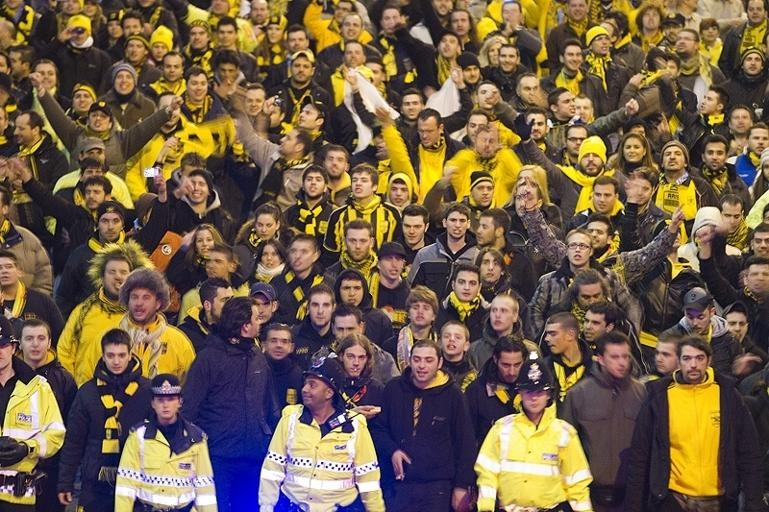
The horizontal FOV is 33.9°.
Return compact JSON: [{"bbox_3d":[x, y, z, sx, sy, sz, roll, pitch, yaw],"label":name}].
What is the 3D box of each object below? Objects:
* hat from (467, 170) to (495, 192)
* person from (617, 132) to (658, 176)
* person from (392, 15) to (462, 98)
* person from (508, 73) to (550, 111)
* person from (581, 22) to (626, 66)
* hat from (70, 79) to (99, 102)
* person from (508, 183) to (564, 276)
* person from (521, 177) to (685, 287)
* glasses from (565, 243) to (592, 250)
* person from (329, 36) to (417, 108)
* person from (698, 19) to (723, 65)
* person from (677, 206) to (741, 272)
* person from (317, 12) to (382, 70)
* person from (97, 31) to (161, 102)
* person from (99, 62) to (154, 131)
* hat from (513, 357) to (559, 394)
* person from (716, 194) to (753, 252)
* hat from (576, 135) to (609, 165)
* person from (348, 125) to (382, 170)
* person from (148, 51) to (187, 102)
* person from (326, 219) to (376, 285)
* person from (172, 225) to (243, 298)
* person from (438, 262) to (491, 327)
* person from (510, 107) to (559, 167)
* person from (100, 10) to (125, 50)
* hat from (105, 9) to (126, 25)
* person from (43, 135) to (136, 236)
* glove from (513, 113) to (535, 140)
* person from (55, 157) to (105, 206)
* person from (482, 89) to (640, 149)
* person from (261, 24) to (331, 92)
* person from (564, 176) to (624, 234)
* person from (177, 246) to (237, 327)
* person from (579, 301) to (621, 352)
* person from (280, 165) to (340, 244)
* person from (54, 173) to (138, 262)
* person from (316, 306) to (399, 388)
[{"bbox_3d":[1.614,-1.238,20.905,0.282,0.270,0.361,4,-20,-2],"label":"hat"},{"bbox_3d":[4.317,-1.770,21.707,0.842,0.790,0.536,4,17,17],"label":"person"},{"bbox_3d":[0.938,-3.859,24.360,1.393,1.327,0.537,-9,13,34],"label":"person"},{"bbox_3d":[2.722,-3.046,23.708,0.975,0.749,0.573,-6,16,-11],"label":"person"},{"bbox_3d":[4.259,-4.138,24.962,1.007,0.774,0.559,-7,8,-10],"label":"person"},{"bbox_3d":[-5.531,-3.005,23.257,0.440,0.321,0.513,25,-13,-18],"label":"hat"},{"bbox_3d":[2.521,-0.446,19.675,0.550,1.413,0.779,-30,12,-34],"label":"person"},{"bbox_3d":[3.432,-0.306,19.668,1.896,1.116,0.422,4,2,-6],"label":"person"},{"bbox_3d":[2.909,-0.124,18.743,0.322,0.083,0.082,-2,-15,10],"label":"glasses"},{"bbox_3d":[-0.541,-3.348,23.489,1.004,1.266,0.674,-15,-36,-22],"label":"person"},{"bbox_3d":[7.030,-4.591,27.024,0.764,0.945,0.415,-1,12,7],"label":"person"},{"bbox_3d":[5.006,-0.322,19.678,1.131,1.032,0.478,3,-9,-9],"label":"person"},{"bbox_3d":[-0.639,-4.088,24.573,1.508,1.138,0.708,10,7,10],"label":"person"},{"bbox_3d":[-4.720,-3.727,24.357,1.408,1.215,0.712,12,11,15],"label":"person"},{"bbox_3d":[-4.869,-2.985,23.461,1.498,1.219,0.730,3,15,-7],"label":"person"},{"bbox_3d":[1.978,1.531,16.353,0.561,0.379,0.778,-10,2,22],"label":"hat"},{"bbox_3d":[5.777,-0.540,20.562,0.638,0.904,0.493,-3,-5,0],"label":"person"},{"bbox_3d":[3.549,-1.820,21.426,0.452,0.516,0.385,0,-15,4],"label":"hat"},{"bbox_3d":[-0.276,-1.896,22.302,0.574,0.725,0.319,16,4,20],"label":"person"},{"bbox_3d":[-4.037,-3.377,23.779,1.129,0.937,0.575,0,12,-7],"label":"person"},{"bbox_3d":[-0.443,-0.038,19.736,1.246,1.004,0.624,0,5,-3],"label":"person"},{"bbox_3d":[-2.989,0.075,19.996,1.026,1.103,0.507,22,-4,-3],"label":"person"},{"bbox_3d":[1.207,0.621,18.871,1.135,0.957,0.560,2,1,-8],"label":"person"},{"bbox_3d":[2.773,-2.029,22.365,0.843,1.172,0.741,-3,-4,12],"label":"person"},{"bbox_3d":[-5.607,-4.642,25.859,0.644,0.691,0.814,8,5,4],"label":"person"},{"bbox_3d":[-5.555,-4.939,25.952,0.386,0.237,0.306,-16,14,6],"label":"hat"},{"bbox_3d":[-5.052,-1.385,21.451,0.549,1.601,1.193,36,53,21],"label":"person"},{"bbox_3d":[2.420,-2.238,21.784,0.328,0.686,0.727,0,-14,6],"label":"glove"},{"bbox_3d":[-5.062,-1.203,20.956,1.007,0.595,0.438,0,3,-28],"label":"person"},{"bbox_3d":[3.203,-2.339,22.928,3.018,1.099,0.684,-1,-6,-15],"label":"person"},{"bbox_3d":[-1.726,-3.926,25.119,1.504,1.251,0.716,1,7,-7],"label":"person"},{"bbox_3d":[3.646,-0.776,20.506,1.576,0.938,0.715,1,-3,21],"label":"person"},{"bbox_3d":[-2.622,0.485,18.711,0.977,1.024,0.552,13,-17,6],"label":"person"},{"bbox_3d":[3.032,0.986,17.803,0.465,0.699,0.533,16,10,36],"label":"person"},{"bbox_3d":[-1.182,-0.846,21.056,1.515,1.174,0.778,7,2,19],"label":"person"},{"bbox_3d":[-4.669,-0.562,20.181,1.407,1.355,0.467,10,0,0],"label":"person"},{"bbox_3d":[-0.530,1.269,17.836,1.673,1.146,0.708,4,-1,9],"label":"person"}]
